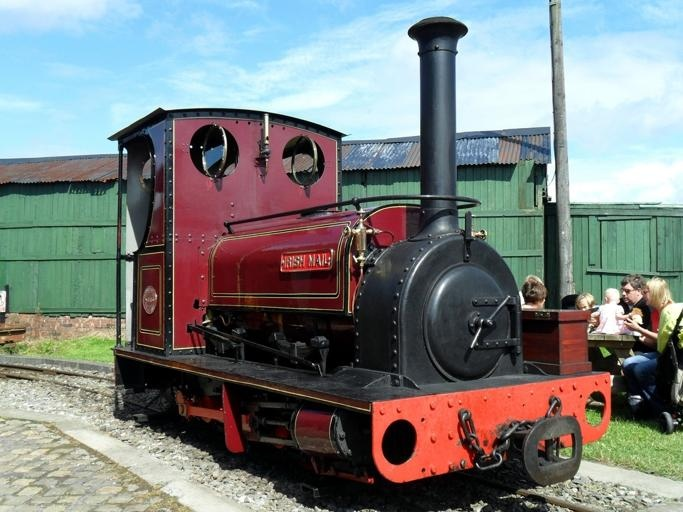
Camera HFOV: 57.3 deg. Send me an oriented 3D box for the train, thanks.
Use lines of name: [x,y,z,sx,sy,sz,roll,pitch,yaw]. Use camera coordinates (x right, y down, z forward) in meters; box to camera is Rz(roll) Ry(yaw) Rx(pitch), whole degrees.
train: [0.027,0.153,8.221,3.415,4.343,6.925,0,0,-35]
